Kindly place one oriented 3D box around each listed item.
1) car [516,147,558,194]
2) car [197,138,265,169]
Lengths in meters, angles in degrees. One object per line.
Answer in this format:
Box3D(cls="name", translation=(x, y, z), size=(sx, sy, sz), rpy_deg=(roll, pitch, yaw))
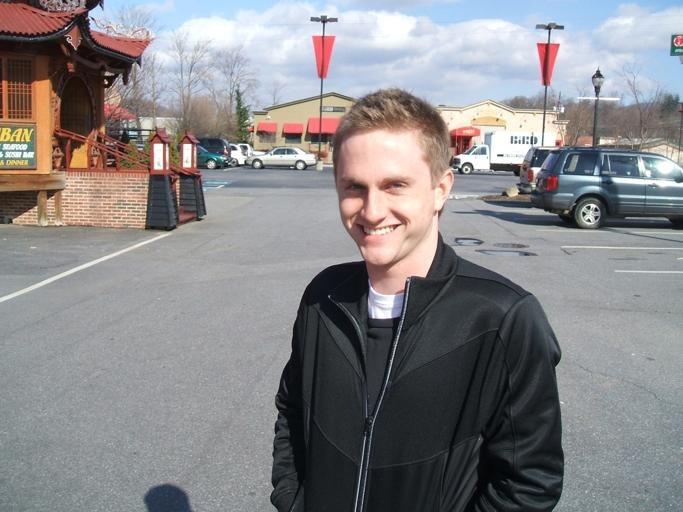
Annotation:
Box3D(cls="car", translation=(8.403, -3.551, 23.202), size=(1.815, 1.783, 3.129), rpy_deg=(3, 13, 21))
Box3D(cls="car", translation=(-9.839, -8.834, 47.003), size=(3.164, 2.354, 7.739), rpy_deg=(1, 11, 3))
